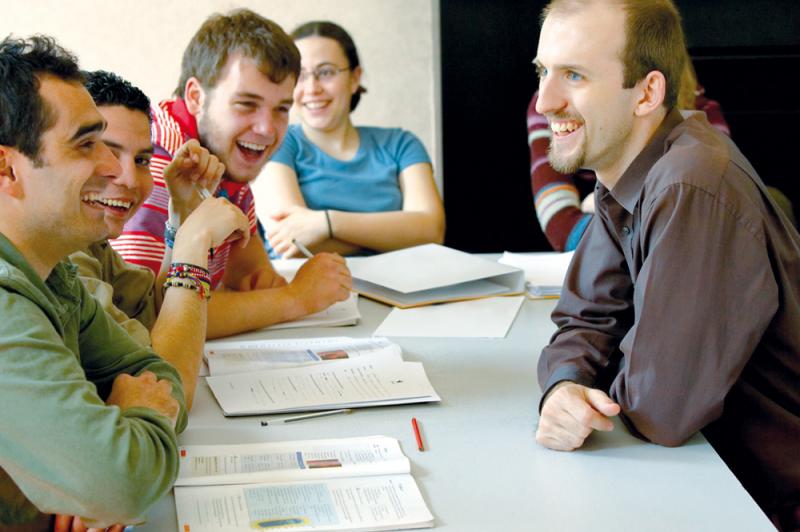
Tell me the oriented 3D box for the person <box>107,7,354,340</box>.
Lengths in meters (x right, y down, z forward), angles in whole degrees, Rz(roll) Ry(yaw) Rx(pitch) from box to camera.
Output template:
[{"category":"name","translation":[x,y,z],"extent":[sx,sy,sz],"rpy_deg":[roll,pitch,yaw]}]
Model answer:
[{"category":"person","translation":[-0.462,-0.310,2.181],"extent":[0.878,0.928,0.848],"rpy_deg":[9,15,28]}]

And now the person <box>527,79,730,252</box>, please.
[{"category":"person","translation":[0.761,-0.282,2.602],"extent":[0.702,0.940,0.308],"rpy_deg":[5,-20,-20]}]

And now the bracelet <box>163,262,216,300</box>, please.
[{"category":"bracelet","translation":[-0.497,0.040,1.559],"extent":[0.084,0.065,0.094],"rpy_deg":[5,-4,-9]}]
